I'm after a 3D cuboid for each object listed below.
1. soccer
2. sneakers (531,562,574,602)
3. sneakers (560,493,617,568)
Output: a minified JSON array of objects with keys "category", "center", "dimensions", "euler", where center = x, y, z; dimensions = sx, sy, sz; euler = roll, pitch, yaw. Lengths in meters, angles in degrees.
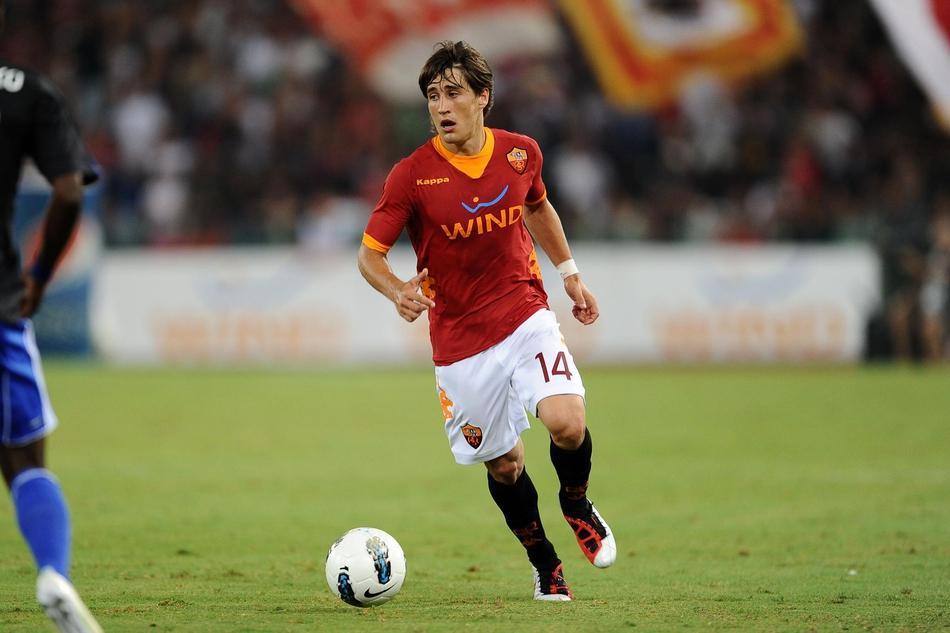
[{"category":"soccer","center":[-0.821,1.684,7.923],"dimensions":[0.497,0.519,0.475],"euler":[17,11,-21]},{"category":"sneakers","center":[0.535,1.758,7.891],"dimensions":[0.261,0.212,0.241],"euler":[0,8,3]},{"category":"sneakers","center":[0.844,1.512,8.054],"dimensions":[0.212,0.610,0.241],"euler":[-35,-21,10]}]
